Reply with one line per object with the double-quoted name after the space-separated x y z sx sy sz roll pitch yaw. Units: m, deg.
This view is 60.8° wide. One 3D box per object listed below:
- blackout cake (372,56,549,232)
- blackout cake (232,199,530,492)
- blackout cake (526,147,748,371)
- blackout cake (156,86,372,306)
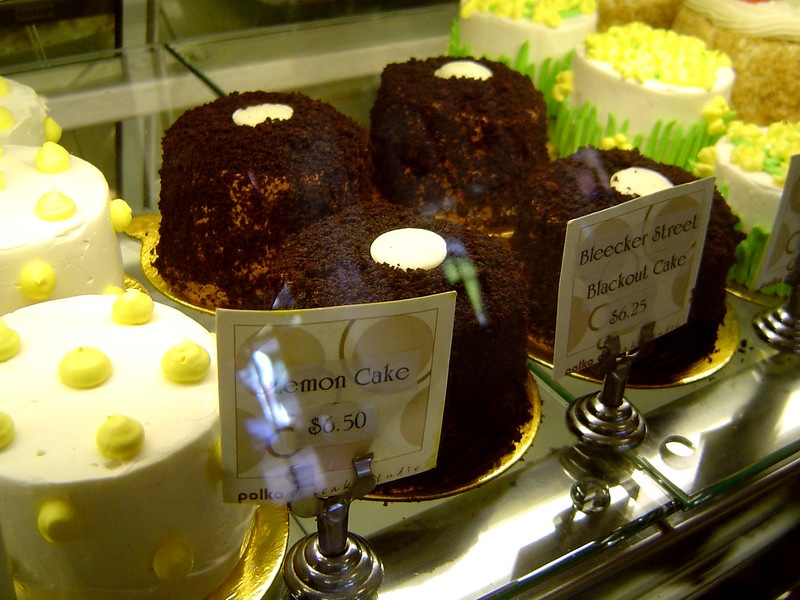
0.179 -0.498 2.130 0.542 0.532 0.529 -17 31 -35 "blackout cake"
0.044 0.121 1.394 0.524 0.312 0.517 5 36 3 "blackout cake"
0.531 -0.151 1.684 0.516 0.364 0.519 2 38 5 "blackout cake"
-0.373 -0.246 1.856 0.526 0.376 0.517 3 31 -3 "blackout cake"
